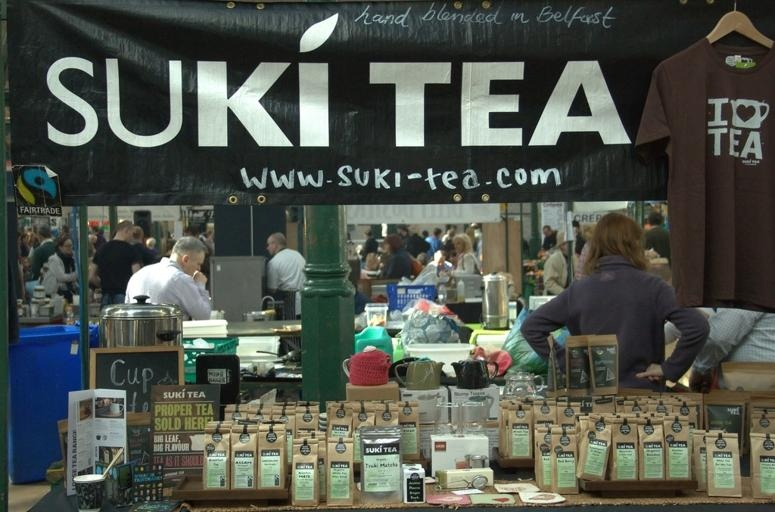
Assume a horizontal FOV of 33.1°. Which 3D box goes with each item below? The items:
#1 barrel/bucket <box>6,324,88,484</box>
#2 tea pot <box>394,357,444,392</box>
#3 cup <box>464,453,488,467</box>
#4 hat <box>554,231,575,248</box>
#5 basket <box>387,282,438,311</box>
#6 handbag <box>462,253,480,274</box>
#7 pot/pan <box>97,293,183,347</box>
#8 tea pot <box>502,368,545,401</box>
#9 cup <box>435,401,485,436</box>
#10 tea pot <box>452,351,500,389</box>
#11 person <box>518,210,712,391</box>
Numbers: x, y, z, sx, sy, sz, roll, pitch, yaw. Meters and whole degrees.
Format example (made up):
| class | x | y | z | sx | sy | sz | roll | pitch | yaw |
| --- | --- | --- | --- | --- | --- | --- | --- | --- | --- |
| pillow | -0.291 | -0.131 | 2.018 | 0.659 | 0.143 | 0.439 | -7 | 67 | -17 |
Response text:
| class | x | y | z | sx | sy | sz | roll | pitch | yaw |
| --- | --- | --- | --- | --- | --- | --- | --- | --- | --- |
| barrel/bucket | -2.741 | 1.216 | 10.370 | 0.534 | 1.189 | 0.251 | 1 | -3 | -15 |
| tea pot | 0.187 | 0.734 | 8.012 | 0.258 | 0.154 | 0.192 | -1 | -4 | 5 |
| cup | 0.529 | 1.189 | 7.513 | 0.079 | 0.082 | 0.077 | 1 | 0 | 0 |
| hat | 2.002 | -0.176 | 14.496 | 0.196 | 0.078 | 0.225 | -22 | 7 | 12 |
| basket | 0.243 | 0.402 | 12.605 | 0.371 | 0.210 | 0.257 | 1 | 0 | 2 |
| handbag | 1.076 | 0.110 | 16.251 | 0.193 | 0.314 | 0.360 | -3 | 1 | 15 |
| pot/pan | -1.508 | 0.426 | 7.980 | 0.347 | 0.328 | 0.362 | 0 | -3 | 2 |
| tea pot | 0.864 | 0.801 | 8.055 | 0.235 | 0.172 | 0.187 | 1 | -3 | 0 |
| cup | 0.451 | 0.955 | 7.706 | 0.282 | 0.207 | 0.160 | 0 | 0 | 1 |
| tea pot | 0.556 | 0.717 | 8.023 | 0.276 | 0.162 | 0.192 | 1 | -1 | -8 |
| person | 1.605 | 0.323 | 8.931 | 1.117 | 1.639 | 0.516 | 4 | 18 | 28 |
